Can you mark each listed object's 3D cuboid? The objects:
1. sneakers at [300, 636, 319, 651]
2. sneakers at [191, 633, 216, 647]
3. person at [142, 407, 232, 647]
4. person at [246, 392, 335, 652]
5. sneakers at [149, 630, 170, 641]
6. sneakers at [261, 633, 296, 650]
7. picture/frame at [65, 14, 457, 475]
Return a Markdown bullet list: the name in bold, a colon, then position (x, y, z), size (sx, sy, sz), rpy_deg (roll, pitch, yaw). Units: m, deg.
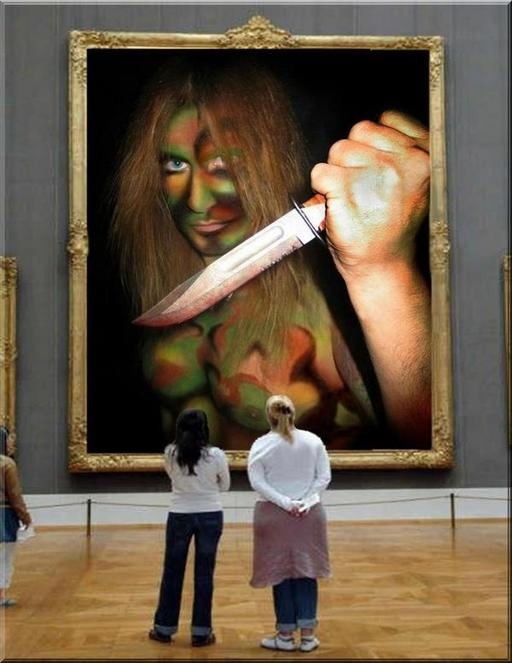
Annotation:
- **sneakers**: position (0.384, 2.268, 7.673), size (0.071, 0.074, 0.174), rpy_deg (-1, -7, 15)
- **sneakers**: position (-0.391, 2.284, 7.784), size (0.078, 0.074, 0.191), rpy_deg (1, -4, 10)
- **person**: position (-0.508, 1.458, 7.803), size (0.615, 1.706, 0.463), rpy_deg (-4, 12, -20)
- **person**: position (0.241, 1.419, 7.692), size (0.585, 1.815, 0.472), rpy_deg (0, 11, 2)
- **sneakers**: position (-0.728, 2.266, 7.863), size (0.068, 0.057, 0.165), rpy_deg (10, -5, -44)
- **sneakers**: position (0.170, 2.272, 7.731), size (0.270, 0.100, 0.113), rpy_deg (-4, -11, 33)
- **picture/frame**: position (0.045, -0.894, 10.804), size (3.948, 4.509, 1.226), rpy_deg (-1, 11, -3)
